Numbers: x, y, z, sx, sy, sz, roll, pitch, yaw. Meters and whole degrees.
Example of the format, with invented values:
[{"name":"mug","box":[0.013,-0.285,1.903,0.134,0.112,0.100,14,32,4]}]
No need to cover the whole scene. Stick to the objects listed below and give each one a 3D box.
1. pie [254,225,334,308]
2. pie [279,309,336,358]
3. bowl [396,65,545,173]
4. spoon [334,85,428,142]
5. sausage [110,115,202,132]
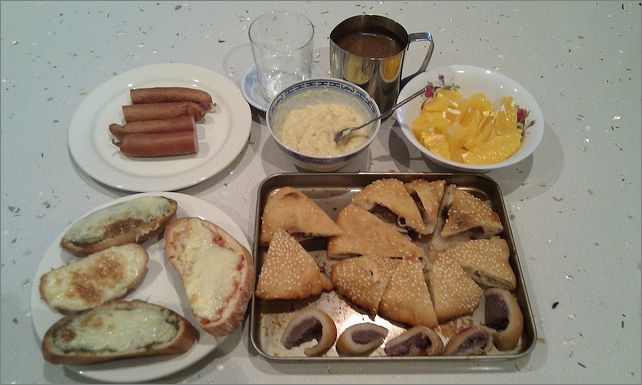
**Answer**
[{"name":"pie","box":[-0.170,0.501,3.348,0.396,0.069,0.447,16,74,7]},{"name":"pie","box":[-0.072,0.881,3.245,0.311,0.130,0.350,5,29,16]},{"name":"bowl","box":[1.029,-0.543,3.610,0.996,0.201,0.814,10,74,5]},{"name":"spoon","box":[0.508,-0.580,3.636,0.106,0.726,0.085,-36,102,-52]},{"name":"sausage","box":[-1.194,-0.460,3.666,0.593,0.056,0.120,-6,73,0]}]
